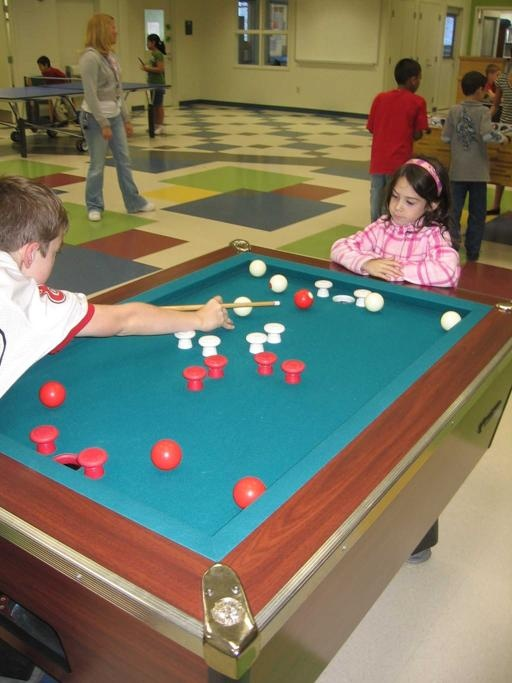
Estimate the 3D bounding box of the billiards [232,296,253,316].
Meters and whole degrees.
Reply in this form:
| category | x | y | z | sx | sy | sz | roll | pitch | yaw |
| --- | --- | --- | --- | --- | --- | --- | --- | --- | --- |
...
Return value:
| category | x | y | z | sx | sy | sz | roll | pitch | yaw |
| --- | --- | --- | --- | --- | --- | --- | --- | --- | --- |
| billiards | -0.052 | -0.121 | 1.839 | 0.067 | 0.072 | 0.064 | 2 | -1 | -7 |

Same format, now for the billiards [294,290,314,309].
| category | x | y | z | sx | sy | sz | roll | pitch | yaw |
| --- | --- | --- | --- | --- | --- | --- | --- | --- | --- |
| billiards | 0.160 | -0.152 | 1.901 | 0.066 | 0.066 | 0.067 | -1 | 26 | -14 |

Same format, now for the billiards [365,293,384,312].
| category | x | y | z | sx | sy | sz | roll | pitch | yaw |
| --- | --- | --- | --- | --- | --- | --- | --- | --- | --- |
| billiards | 0.409 | -0.135 | 1.844 | 0.066 | 0.062 | 0.076 | 5 | -15 | 7 |

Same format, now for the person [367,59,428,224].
| category | x | y | z | sx | sy | sz | roll | pitch | yaw |
| --- | --- | --- | --- | --- | --- | --- | --- | --- | --- |
| person | 1.310 | -1.874 | 5.127 | 0.526 | 1.601 | 0.470 | 2 | 48 | 9 |

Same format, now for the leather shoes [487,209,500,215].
| category | x | y | z | sx | sy | sz | roll | pitch | yaw |
| --- | --- | --- | --- | --- | --- | --- | --- | --- | --- |
| leather shoes | 2.733 | -1.481 | 6.099 | 0.149 | 0.055 | 0.052 | -7 | 18 | -27 |

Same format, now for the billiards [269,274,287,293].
| category | x | y | z | sx | sy | sz | roll | pitch | yaw |
| --- | --- | --- | --- | --- | --- | --- | --- | --- | --- |
| billiards | 0.074 | -0.213 | 2.051 | 0.071 | 0.067 | 0.068 | -13 | -12 | -15 |

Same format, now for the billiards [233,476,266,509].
| category | x | y | z | sx | sy | sz | roll | pitch | yaw |
| --- | --- | --- | --- | --- | --- | --- | --- | --- | --- |
| billiards | -0.018 | 0.264 | 0.930 | 0.055 | 0.060 | 0.051 | 3 | 59 | -5 |

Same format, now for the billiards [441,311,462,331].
| category | x | y | z | sx | sy | sz | roll | pitch | yaw |
| --- | --- | --- | --- | --- | --- | --- | --- | --- | --- |
| billiards | 0.628 | -0.064 | 1.701 | 0.045 | 0.044 | 0.052 | -21 | 25 | -4 |
